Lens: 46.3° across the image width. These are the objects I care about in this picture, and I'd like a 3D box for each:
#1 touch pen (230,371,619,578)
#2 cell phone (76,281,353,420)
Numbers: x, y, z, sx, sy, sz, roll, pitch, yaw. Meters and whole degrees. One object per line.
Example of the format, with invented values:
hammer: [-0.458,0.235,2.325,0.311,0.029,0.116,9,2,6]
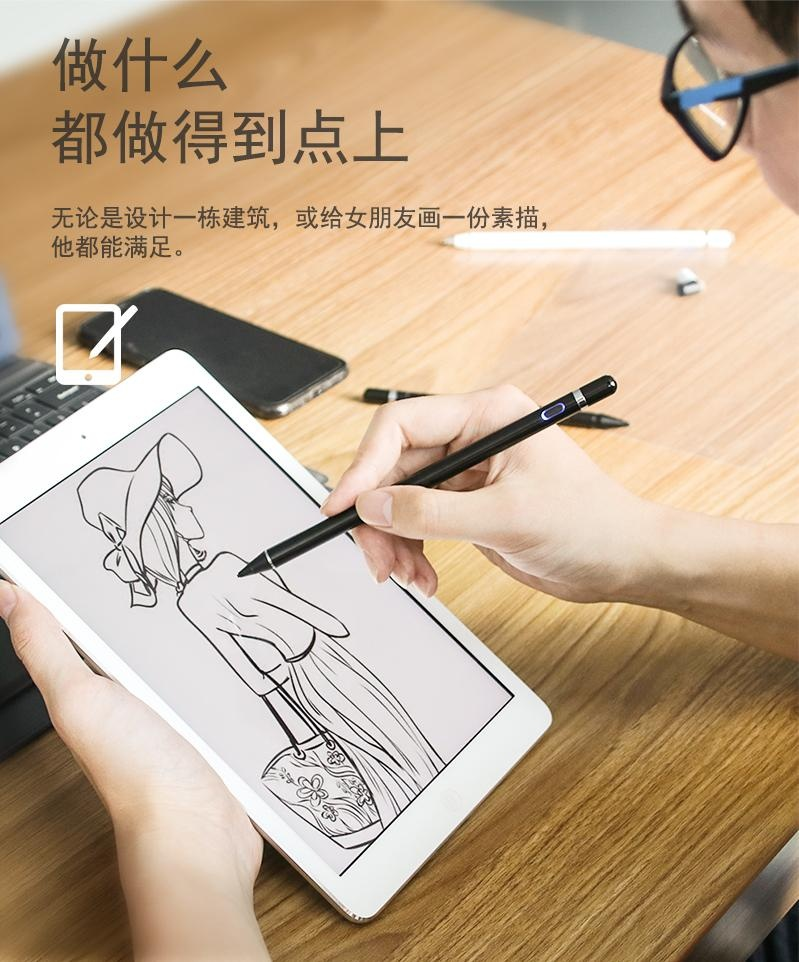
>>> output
touch pen: [0.016,0.000,0.695,0.368,0.026,0.024,-24,51,-3]
cell phone: [-0.161,-0.121,0.863,0.241,0.021,0.119,20,34,22]
